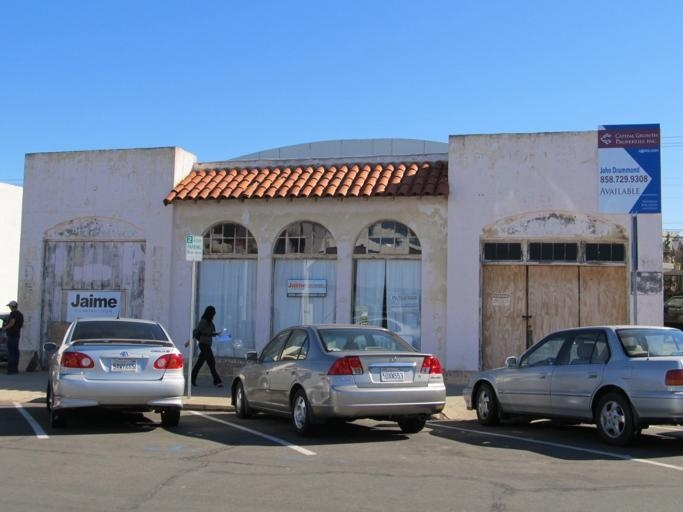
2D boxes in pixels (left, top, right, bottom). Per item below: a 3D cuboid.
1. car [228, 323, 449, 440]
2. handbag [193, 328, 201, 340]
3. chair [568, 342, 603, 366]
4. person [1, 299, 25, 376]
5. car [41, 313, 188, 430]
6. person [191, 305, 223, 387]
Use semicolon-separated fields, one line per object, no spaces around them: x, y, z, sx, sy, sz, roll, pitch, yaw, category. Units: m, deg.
-0.188;2.116;14.777;1.779;1.829;3.565;6;-9;-44;car
-3.441;1.858;20.191;0.171;0.269;0.346;1;-6;-11;handbag
4.073;1.586;14.107;0.367;0.425;0.472;2;3;-4;chair
-8.915;2.183;22.972;0.508;1.977;1.189;2;-6;-21;person
-3.835;1.930;14.399;1.573;1.116;2.587;1;-2;-13;car
-3.262;2.157;20.484;0.701;1.975;1.154;1;-6;-10;person
